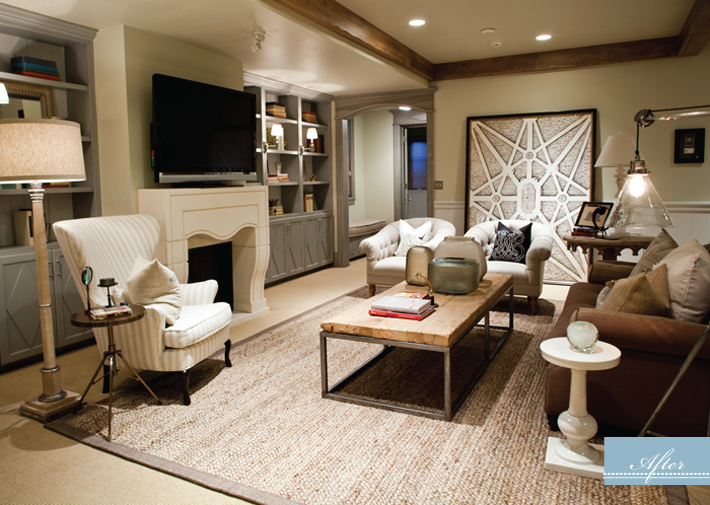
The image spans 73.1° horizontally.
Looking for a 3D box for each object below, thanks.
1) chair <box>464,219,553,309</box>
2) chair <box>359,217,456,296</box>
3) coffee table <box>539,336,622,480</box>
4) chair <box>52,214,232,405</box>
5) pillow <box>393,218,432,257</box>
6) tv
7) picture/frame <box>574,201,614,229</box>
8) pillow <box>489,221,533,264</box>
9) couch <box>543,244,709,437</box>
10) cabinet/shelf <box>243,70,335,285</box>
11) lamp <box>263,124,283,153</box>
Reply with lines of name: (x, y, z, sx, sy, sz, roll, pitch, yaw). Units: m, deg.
chair: (1.842, 0.102, 5.629, 1.192, 1.066, 1.107, 1, 3, 27)
chair: (0.709, 0.022, 5.899, 1.077, 0.956, 1.027, 1, 2, 30)
coffee table: (1.250, 0.863, 2.723, 0.386, 0.740, 0.448, 6, 15, 29)
chair: (-1.694, 0.320, 4.165, 1.490, 1.536, 1.379, 3, 6, 16)
pillow: (0.712, -0.182, 5.889, 0.427, 0.433, 0.150, 9, -8, 20)
tv: (-1.552, -1.236, 4.818, 0.181, 0.943, 1.345, 3, 5, 30)
picture/frame: (2.611, -0.400, 5.212, 0.098, 0.339, 0.342, 27, -4, -34)
pillow: (1.807, -0.091, 5.491, 0.496, 0.512, 0.204, 2, -24, 43)
couch: (1.711, 0.611, 3.051, 0.719, 0.607, 1.261, 1, 13, 21)
cabinet/shelf: (-0.900, -1.049, 7.177, 0.611, 2.834, 1.891, 3, 14, 19)
lamp: (-1.116, -1.619, 6.783, 0.158, 0.365, 0.402, 8, 15, 34)
